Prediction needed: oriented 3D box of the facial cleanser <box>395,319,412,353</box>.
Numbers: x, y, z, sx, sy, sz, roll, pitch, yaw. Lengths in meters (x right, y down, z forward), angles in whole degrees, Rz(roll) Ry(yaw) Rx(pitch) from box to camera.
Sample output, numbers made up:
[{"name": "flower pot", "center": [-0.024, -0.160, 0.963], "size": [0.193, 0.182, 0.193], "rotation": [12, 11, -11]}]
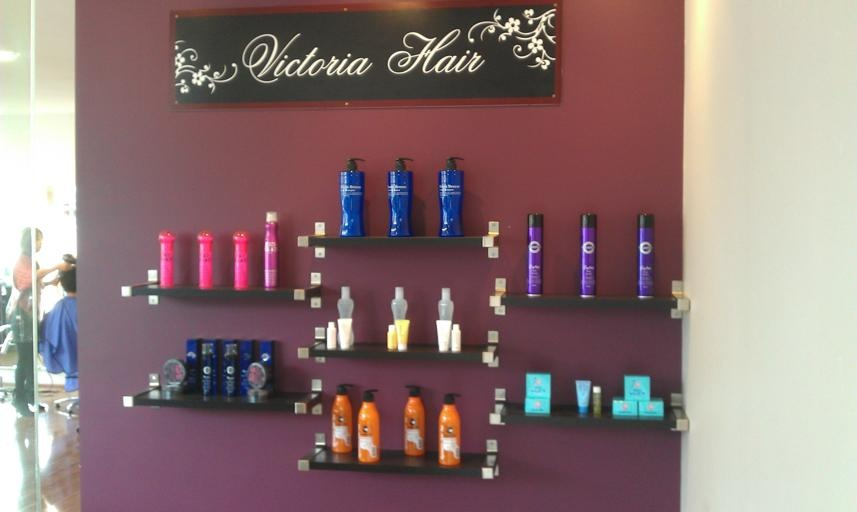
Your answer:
[{"name": "facial cleanser", "center": [-0.124, 0.389, 4.408], "size": [0.075, 0.155, 0.058], "rotation": [4, -5, -36]}]

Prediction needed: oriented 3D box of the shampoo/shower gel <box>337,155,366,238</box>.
[{"name": "shampoo/shower gel", "center": [-0.381, -0.290, 4.457], "size": [0.116, 0.386, 0.093], "rotation": [1, -4, -4]}]

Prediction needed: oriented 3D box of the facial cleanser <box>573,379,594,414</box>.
[{"name": "facial cleanser", "center": [0.764, 0.689, 4.402], "size": [0.074, 0.159, 0.125], "rotation": [0, -4, 9]}]

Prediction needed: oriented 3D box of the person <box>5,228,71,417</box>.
[{"name": "person", "center": [-1.883, 0.304, 4.159], "size": [0.118, 0.862, 0.221], "rotation": [2, -4, -16]}]

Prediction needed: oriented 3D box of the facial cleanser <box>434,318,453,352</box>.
[{"name": "facial cleanser", "center": [0.077, 0.392, 4.420], "size": [0.071, 0.159, 0.155], "rotation": [0, -4, 1]}]

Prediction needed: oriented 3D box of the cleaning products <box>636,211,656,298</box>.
[{"name": "cleaning products", "center": [1.064, -0.001, 4.380], "size": [0.083, 0.403, 0.112], "rotation": [0, -4, 11]}]

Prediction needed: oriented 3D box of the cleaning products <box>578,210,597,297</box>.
[{"name": "cleaning products", "center": [0.785, -0.001, 4.395], "size": [0.078, 0.406, 0.122], "rotation": [0, -4, 11]}]

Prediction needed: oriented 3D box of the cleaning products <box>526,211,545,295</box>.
[{"name": "cleaning products", "center": [0.524, -0.006, 4.404], "size": [0.071, 0.399, 0.068], "rotation": [1, -4, -3]}]

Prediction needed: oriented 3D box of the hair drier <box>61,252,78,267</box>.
[{"name": "hair drier", "center": [-2.824, 0.029, 7.023], "size": [0.069, 0.094, 0.236], "rotation": [-15, -11, -3]}]

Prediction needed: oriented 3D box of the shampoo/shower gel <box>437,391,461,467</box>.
[{"name": "shampoo/shower gel", "center": [0.108, 0.852, 4.413], "size": [0.120, 0.346, 0.115], "rotation": [2, -4, -17]}]
